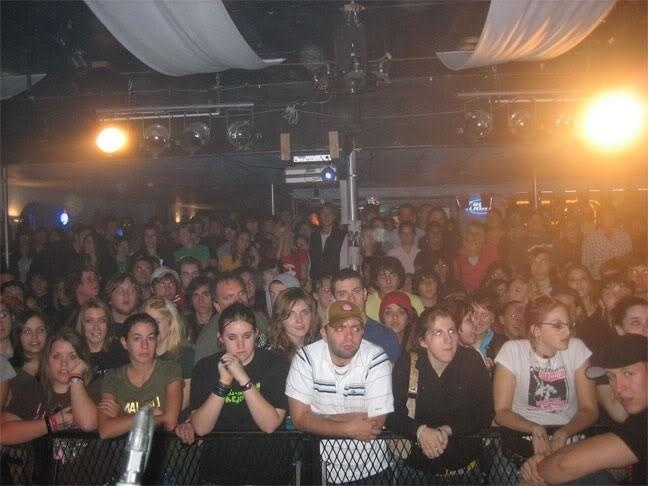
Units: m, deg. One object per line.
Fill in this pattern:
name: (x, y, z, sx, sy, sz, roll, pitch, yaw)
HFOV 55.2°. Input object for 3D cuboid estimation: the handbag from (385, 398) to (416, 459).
handbag: (0.703, 1.696, 5.662, 0.116, 0.402, 0.297, 17, -24, -13)

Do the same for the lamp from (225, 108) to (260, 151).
lamp: (-1.233, -1.727, 9.534, 0.501, 0.637, 0.300, -2, -1, -18)

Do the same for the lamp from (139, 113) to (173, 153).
lamp: (-2.573, -1.667, 9.610, 0.448, 0.550, 0.215, 0, 3, -15)

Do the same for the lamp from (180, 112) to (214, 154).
lamp: (-2.053, -1.676, 9.766, 0.572, 0.590, 0.559, -6, 34, 5)

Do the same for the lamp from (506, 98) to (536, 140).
lamp: (2.945, -1.846, 9.249, 0.369, 0.512, 0.377, 3, 14, 14)

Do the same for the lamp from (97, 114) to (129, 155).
lamp: (-3.262, -1.699, 9.624, 0.493, 0.605, 0.506, 2, 4, 11)
